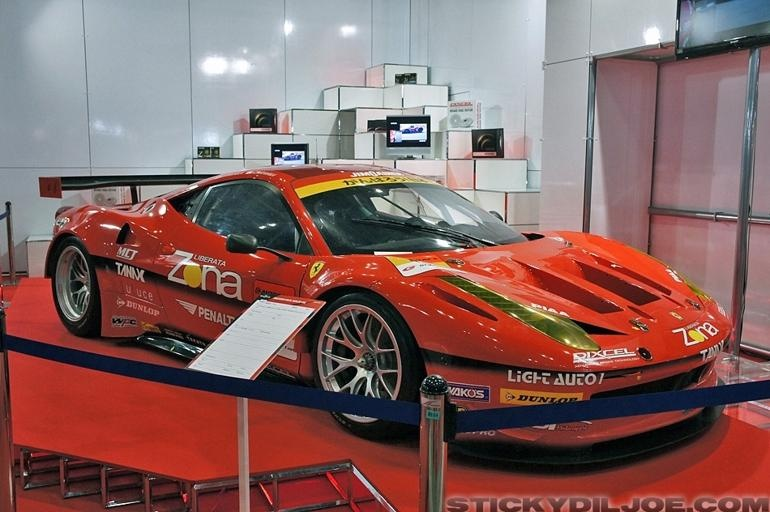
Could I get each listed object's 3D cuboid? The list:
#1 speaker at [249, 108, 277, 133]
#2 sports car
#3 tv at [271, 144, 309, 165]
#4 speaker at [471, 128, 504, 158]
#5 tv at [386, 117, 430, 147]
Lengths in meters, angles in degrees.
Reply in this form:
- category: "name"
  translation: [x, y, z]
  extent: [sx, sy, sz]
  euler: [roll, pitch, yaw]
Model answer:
- category: "speaker"
  translation: [-2.322, -2.563, 11.337]
  extent: [0.562, 0.393, 0.258]
  euler: [0, 8, -7]
- category: "sports car"
  translation: [-0.124, 0.052, 4.297]
  extent: [4.543, 1.407, 1.536]
  euler: [4, 10, 28]
- category: "tv"
  translation: [-1.720, -1.852, 10.726]
  extent: [0.633, 0.338, 0.335]
  euler: [-2, 9, -12]
- category: "speaker"
  translation: [1.667, -1.839, 9.724]
  extent: [0.562, 0.463, 0.290]
  euler: [3, 10, 21]
- category: "tv"
  translation: [0.415, -2.086, 9.950]
  extent: [0.629, 0.376, 0.059]
  euler: [1, 5, 4]
